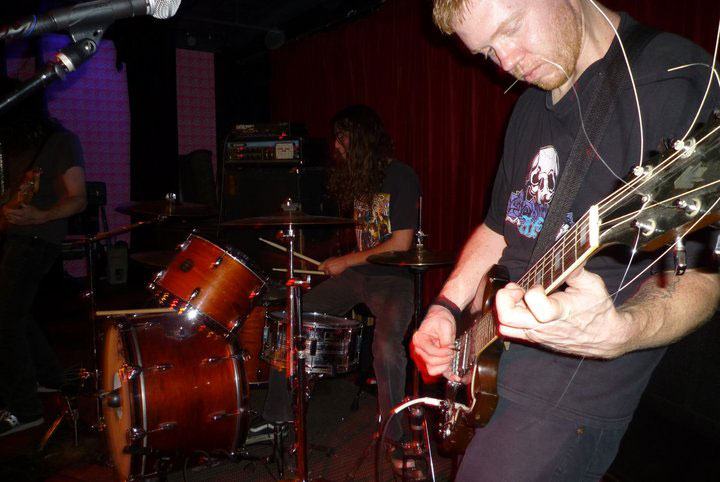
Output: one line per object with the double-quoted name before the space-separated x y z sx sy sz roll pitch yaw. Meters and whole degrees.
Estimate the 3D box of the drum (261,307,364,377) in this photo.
"drum" -0.357 0.758 4.625 0.761 0.396 0.767 6 0 0

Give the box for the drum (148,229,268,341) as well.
"drum" -1.124 0.422 4.286 0.771 0.775 0.520 29 57 8

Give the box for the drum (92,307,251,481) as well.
"drum" -1.345 0.709 4.330 0.981 1.368 1.289 -3 4 -36
